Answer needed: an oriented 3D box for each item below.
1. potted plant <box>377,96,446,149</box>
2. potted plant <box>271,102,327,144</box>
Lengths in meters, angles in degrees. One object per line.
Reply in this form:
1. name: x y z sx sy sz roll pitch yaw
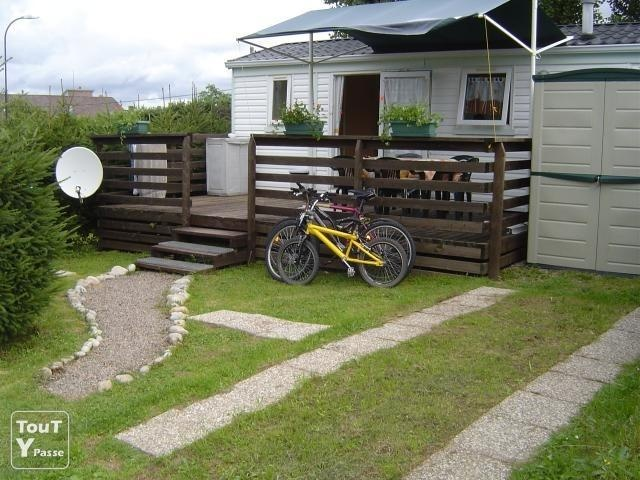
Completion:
1. potted plant: 1.329 -1.769 7.899 0.694 0.440 0.624 -5 17 -2
2. potted plant: -0.307 -1.971 8.630 0.571 0.511 0.690 2 11 15
